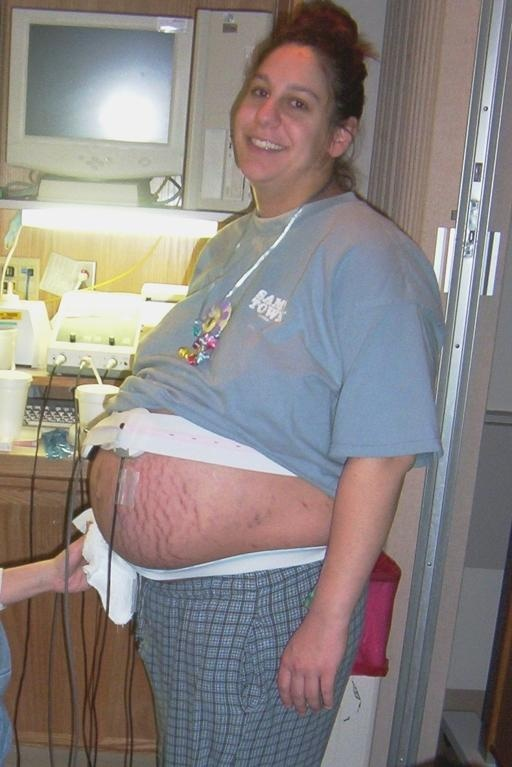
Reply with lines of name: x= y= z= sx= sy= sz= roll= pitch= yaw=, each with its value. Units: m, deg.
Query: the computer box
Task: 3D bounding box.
computer box: x=-0.010 y=-0.699 z=1.658 sx=0.286 sy=0.461 sz=0.312 roll=13 pitch=26 yaw=14

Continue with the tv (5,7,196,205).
tv: x=-0.325 y=-0.654 z=1.802 sx=0.642 sy=0.643 sz=0.354 roll=3 pitch=7 yaw=1
